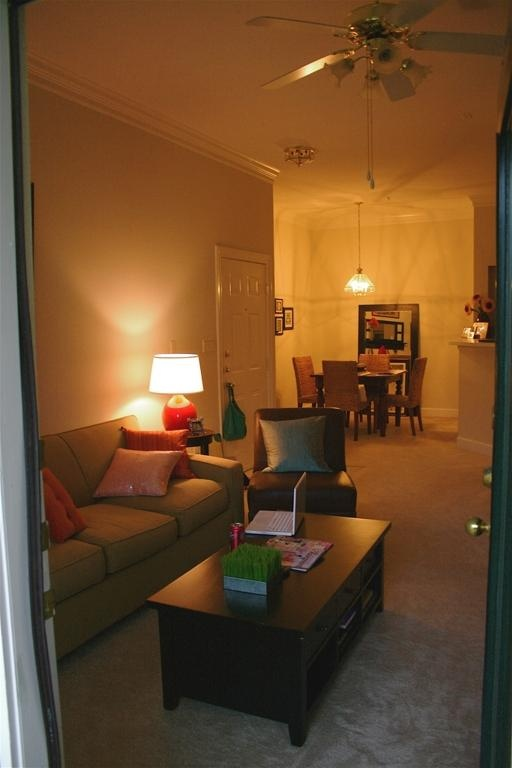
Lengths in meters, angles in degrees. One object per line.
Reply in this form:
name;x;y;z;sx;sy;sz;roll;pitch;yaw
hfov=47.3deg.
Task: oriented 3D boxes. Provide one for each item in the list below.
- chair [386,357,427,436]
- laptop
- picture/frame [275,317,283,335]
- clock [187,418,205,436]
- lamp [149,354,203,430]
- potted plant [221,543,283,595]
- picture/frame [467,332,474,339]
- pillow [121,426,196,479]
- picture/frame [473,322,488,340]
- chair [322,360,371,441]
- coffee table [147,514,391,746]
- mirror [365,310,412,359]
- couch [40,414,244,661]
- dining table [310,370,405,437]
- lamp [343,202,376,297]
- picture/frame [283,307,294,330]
chair;1.834;0.138;7.247;0.474;0.856;0.491;1;3;25
laptop;0.096;0.545;2.734;0.225;0.233;0.356;5;3;8
picture/frame;0.336;-0.792;8.229;0.050;0.250;0.270;0;4;17
clock;-0.403;0.293;4.011;0.065;0.110;0.113;-3;-6;26
lamp;-0.528;0.045;4.030;0.416;0.679;0.441;-4;10;-12
potted plant;-0.044;0.680;2.076;0.205;0.118;0.203;18;-20;-30
picture/frame;2.408;-0.534;6.596;0.025;0.074;0.080;5;0;-8
pillow;-0.574;0.413;3.407;0.259;0.279;0.104;1;0;2
picture/frame;2.484;-0.581;6.496;0.047;0.216;0.192;9;0;-37
chair;1.082;0.116;6.903;0.449;1.024;0.534;4;11;39
coffee table;-0.002;0.676;1.987;0.430;0.321;0.766;1;7;26
mirror;1.958;-0.714;8.548;0.622;0.847;0.029;4;8;28
couch;-0.684;0.691;2.935;0.579;0.672;1.321;0;12;40
dining table;1.163;0.144;7.011;0.728;0.769;0.957;2;9;22
lamp;1.439;-1.807;8.143;0.389;1.157;1.499;-1;4;10
picture/frame;0.474;-0.925;8.522;0.062;0.337;0.399;0;5;18
